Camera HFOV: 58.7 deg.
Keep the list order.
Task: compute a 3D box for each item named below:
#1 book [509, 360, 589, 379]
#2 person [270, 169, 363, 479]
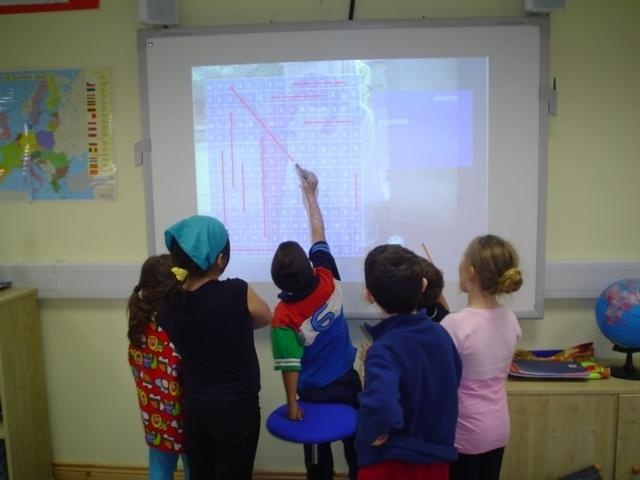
[{"bbox_3d":[1.186,0.677,2.959,0.182,0.048,0.190,0,2,6],"label":"book"},{"bbox_3d":[0.014,0.590,2.725,0.393,1.188,0.611,1,4,11],"label":"person"}]
